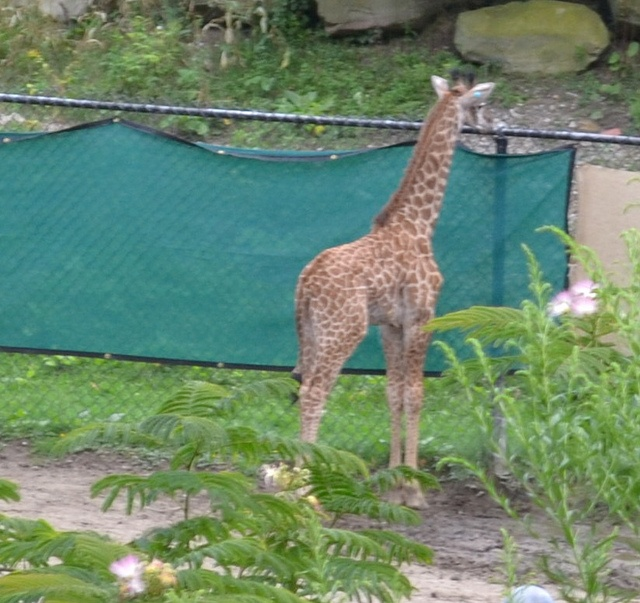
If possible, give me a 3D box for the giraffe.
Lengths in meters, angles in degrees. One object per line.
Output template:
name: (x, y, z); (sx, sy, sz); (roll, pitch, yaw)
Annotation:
giraffe: (0.391, -0.182, 7.980); (0.577, 2.296, 1.218); (12, 16, 39)
